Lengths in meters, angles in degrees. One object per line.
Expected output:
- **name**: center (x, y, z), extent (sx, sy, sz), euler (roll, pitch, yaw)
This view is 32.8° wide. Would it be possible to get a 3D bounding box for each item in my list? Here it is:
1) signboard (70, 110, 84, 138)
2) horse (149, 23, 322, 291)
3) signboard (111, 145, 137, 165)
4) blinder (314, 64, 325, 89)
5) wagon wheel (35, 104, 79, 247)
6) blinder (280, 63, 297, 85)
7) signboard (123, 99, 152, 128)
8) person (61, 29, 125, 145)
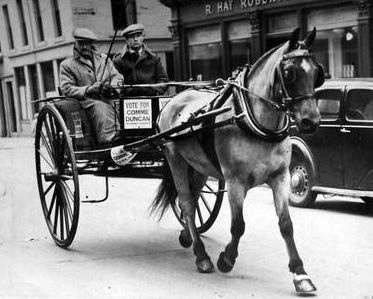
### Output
- **signboard**: center (-1.598, -0.375, 9.275), extent (0.174, 0.399, 0.076), euler (-4, 9, -20)
- **horse**: center (0.523, 0.071, 7.810), extent (1.166, 3.020, 2.673), euler (-5, 10, -24)
- **signboard**: center (-0.853, 0.067, 8.535), extent (0.307, 0.140, 0.226), euler (-18, -27, 29)
- **blinder**: center (1.474, -0.813, 6.949), extent (0.107, 0.267, 0.253), euler (1, 9, 14)
- **wagon wheel**: center (-1.957, 0.413, 9.590), extent (0.396, 1.606, 1.608), euler (-2, 52, -28)
- **blinder**: center (1.114, -0.815, 6.828), extent (0.133, 0.213, 0.199), euler (-7, 2, -11)
- **signboard**: center (-0.705, -0.533, 9.184), extent (0.411, 0.421, 0.096), euler (-3, 9, -11)
- **person**: center (-1.422, -0.982, 9.545), extent (0.942, 1.686, 1.206), euler (-2, 9, -6)
